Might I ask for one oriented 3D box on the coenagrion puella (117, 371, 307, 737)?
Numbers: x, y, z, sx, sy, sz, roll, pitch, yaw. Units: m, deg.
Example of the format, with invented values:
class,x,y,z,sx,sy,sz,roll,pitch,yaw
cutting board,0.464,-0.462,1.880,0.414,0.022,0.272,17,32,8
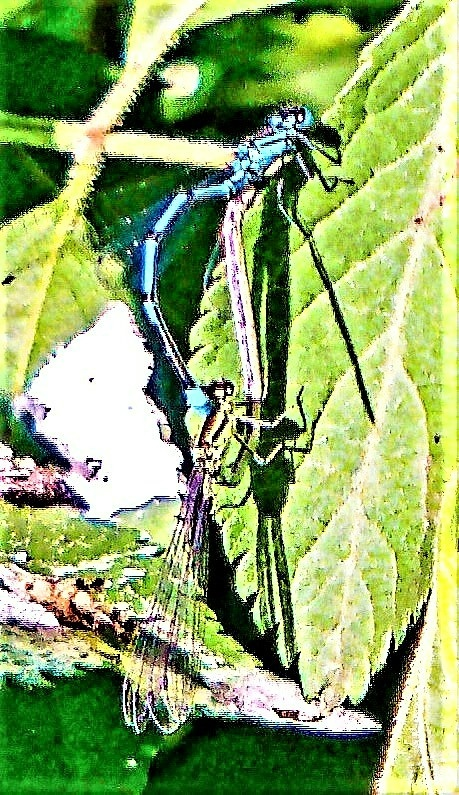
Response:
class,x,y,z,sx,sy,sz,roll,pitch,yaw
coenagrion puella,-0.012,0.251,1.778,0.300,0.470,0.094,3,-15,31
